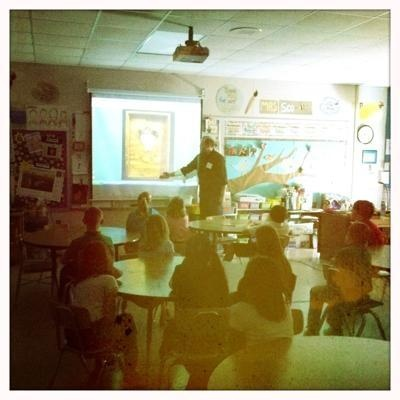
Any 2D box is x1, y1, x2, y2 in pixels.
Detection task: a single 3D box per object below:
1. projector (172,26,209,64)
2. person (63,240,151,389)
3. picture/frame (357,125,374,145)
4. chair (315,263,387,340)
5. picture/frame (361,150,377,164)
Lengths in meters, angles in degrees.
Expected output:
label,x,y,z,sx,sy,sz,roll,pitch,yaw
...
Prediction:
label,x,y,z,sx,sy,sz,roll,pitch,yaw
projector,-0.051,-0.806,1.981,0.175,0.189,0.184,-1,0,-11
person,-0.397,0.497,1.899,0.487,0.905,0.472,0,2,0
picture/frame,1.221,-0.478,2.731,0.160,0.178,0.039,-1,-2,-31
chair,0.813,0.574,2.155,0.335,0.499,0.386,2,-7,-3
picture/frame,1.235,-0.314,2.651,0.128,0.103,0.049,0,6,-16
